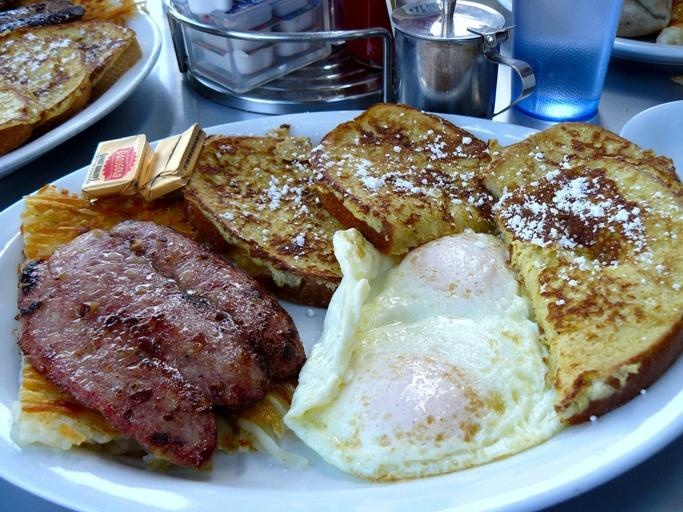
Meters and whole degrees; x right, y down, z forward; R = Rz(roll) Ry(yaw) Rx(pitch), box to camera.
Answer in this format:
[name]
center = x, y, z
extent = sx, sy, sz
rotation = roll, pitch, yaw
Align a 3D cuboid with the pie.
[pie]
center = -0.455, 0.167, 1.405
extent = 0.690, 0.137, 0.584
rotation = 8, 46, -4
